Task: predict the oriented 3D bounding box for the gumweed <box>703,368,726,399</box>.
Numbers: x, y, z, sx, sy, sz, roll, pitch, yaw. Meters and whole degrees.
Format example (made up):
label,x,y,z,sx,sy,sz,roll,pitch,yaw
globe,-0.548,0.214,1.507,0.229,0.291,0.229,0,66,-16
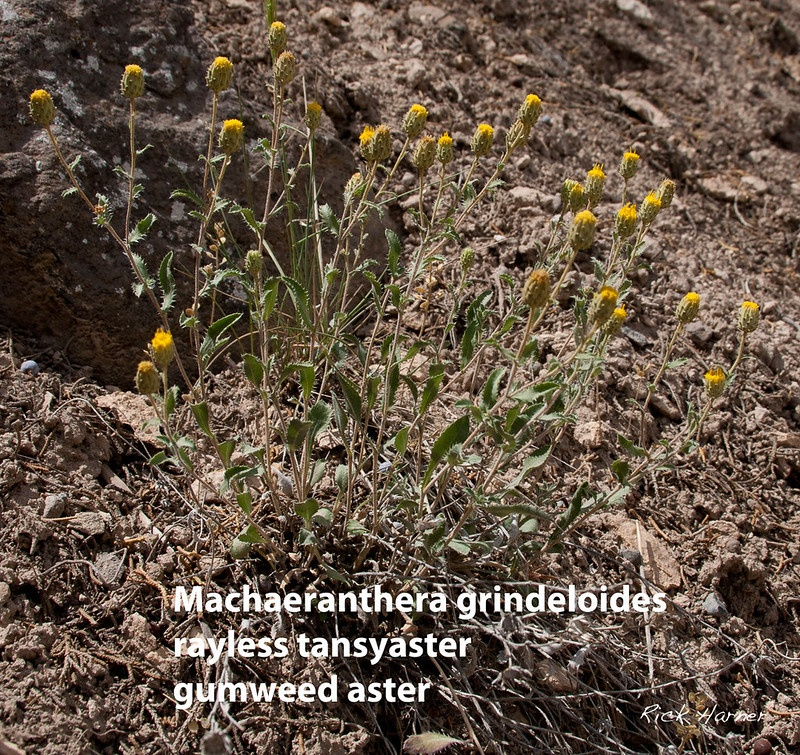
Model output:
label,x,y,z,sx,sy,sz,roll,pitch,yaw
gumweed,1.094,0.020,3.075,0.093,0.097,0.129,0,94,6
